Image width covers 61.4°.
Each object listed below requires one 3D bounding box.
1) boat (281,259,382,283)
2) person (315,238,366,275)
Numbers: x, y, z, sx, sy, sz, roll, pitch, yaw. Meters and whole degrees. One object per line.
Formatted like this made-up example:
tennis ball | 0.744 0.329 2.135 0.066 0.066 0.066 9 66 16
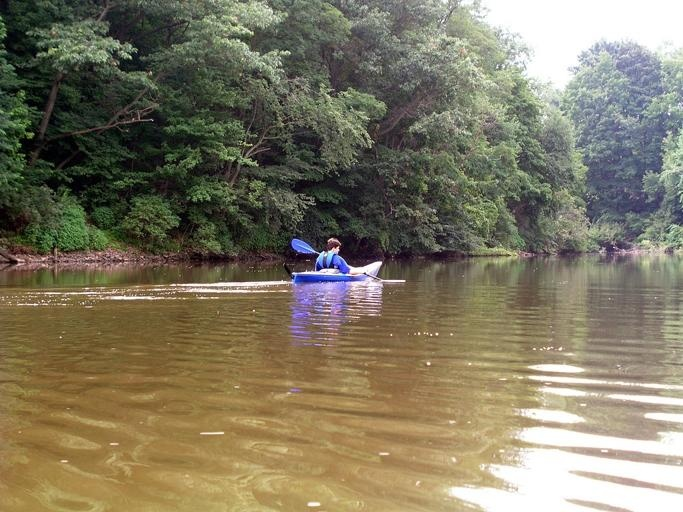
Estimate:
boat | -0.014 0.597 16.620 0.925 0.527 3.105 3 3 43
person | -0.098 0.215 17.212 1.256 1.086 1.876 5 -4 24
